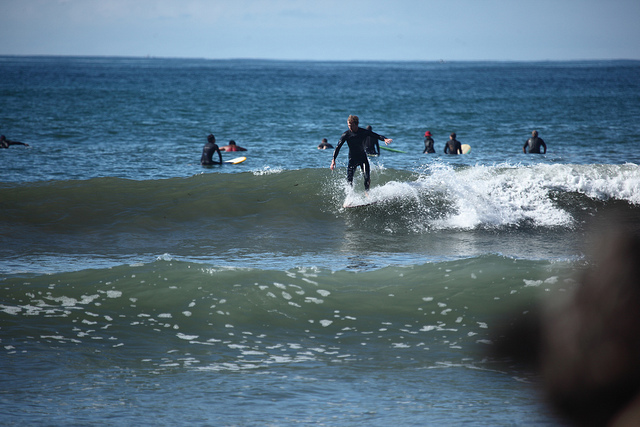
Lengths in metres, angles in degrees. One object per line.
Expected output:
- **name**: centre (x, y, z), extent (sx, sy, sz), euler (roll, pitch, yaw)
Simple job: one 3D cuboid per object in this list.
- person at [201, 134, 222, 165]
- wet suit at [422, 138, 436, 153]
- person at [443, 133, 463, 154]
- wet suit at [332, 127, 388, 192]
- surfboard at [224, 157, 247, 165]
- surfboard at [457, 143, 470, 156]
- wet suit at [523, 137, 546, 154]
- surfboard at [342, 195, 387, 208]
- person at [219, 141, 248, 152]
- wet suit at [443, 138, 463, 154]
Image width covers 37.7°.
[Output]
- **person**: centre (-4.448, -2.587, 37.952), extent (1.128, 1.241, 1.028), euler (6, 10, -7)
- **wet suit**: centre (4.921, -3.002, 41.682), extent (0.739, 0.714, 0.545), euler (-3, -4, 38)
- **person**: centre (5.695, -2.979, 40.357), extent (0.766, 1.006, 2.354), euler (0, 9, 7)
- **wet suit**: centre (1.113, -1.686, 29.308), extent (1.353, 2.003, 1.018), euler (-1, 10, 2)
- **surfboard**: centre (-3.643, -2.208, 39.611), extent (0.540, 0.201, 0.957), euler (2, 9, 19)
- **surfboard**: centre (6.508, -2.897, 42.149), extent (0.739, 0.629, 0.206), euler (-16, -35, 22)
- **wet suit**: centre (9.200, -2.906, 40.422), extent (0.842, 0.737, 1.534), euler (1, 9, 12)
- **surfboard**: centre (1.427, -0.373, 29.819), extent (1.669, 0.194, 0.229), euler (-7, -13, 26)
- **person**: centre (-3.998, -2.974, 42.131), extent (0.767, 0.449, 1.311), euler (4, 10, 29)
- **wet suit**: centre (5.736, -2.878, 40.369), extent (0.688, 0.760, 1.061), euler (-2, 10, -7)
